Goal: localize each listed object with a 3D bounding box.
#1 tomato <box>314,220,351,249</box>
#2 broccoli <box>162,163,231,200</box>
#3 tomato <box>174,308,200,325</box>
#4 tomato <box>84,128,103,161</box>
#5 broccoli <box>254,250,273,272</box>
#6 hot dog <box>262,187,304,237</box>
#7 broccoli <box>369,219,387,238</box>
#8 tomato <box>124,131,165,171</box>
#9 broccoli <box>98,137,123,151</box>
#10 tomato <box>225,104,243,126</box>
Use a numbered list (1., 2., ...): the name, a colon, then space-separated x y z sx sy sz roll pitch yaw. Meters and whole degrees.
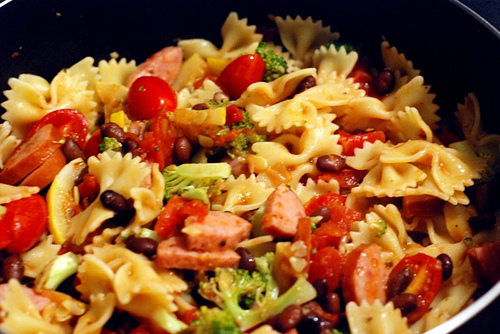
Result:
1. tomato: 0.845 0.687 4.854 0.317 0.194 0.294 -37 78 -10
2. broccoli: -0.594 0.072 5.124 0.750 0.146 0.386 -18 75 -5
3. tomato: -0.581 1.390 4.414 0.130 0.069 0.177 7 12 34
4. tomato: -1.788 -0.256 5.443 0.242 0.093 0.399 39 111 57
5. broccoli: 0.145 0.912 4.547 0.172 0.050 0.171 34 51 31
6. hot dog: 0.340 0.457 4.746 0.319 0.136 0.524 22 43 -8
7. broccoli: 1.319 0.618 4.839 0.167 0.049 0.167 -27 63 -9
8. tomato: -1.070 -0.188 5.159 0.381 0.184 0.346 21 75 6
9. broccoli: -1.529 -0.257 5.123 0.159 0.054 0.157 -36 47 -26
10. tomato: -0.201 -0.596 5.460 0.180 0.226 0.226 -27 39 15
